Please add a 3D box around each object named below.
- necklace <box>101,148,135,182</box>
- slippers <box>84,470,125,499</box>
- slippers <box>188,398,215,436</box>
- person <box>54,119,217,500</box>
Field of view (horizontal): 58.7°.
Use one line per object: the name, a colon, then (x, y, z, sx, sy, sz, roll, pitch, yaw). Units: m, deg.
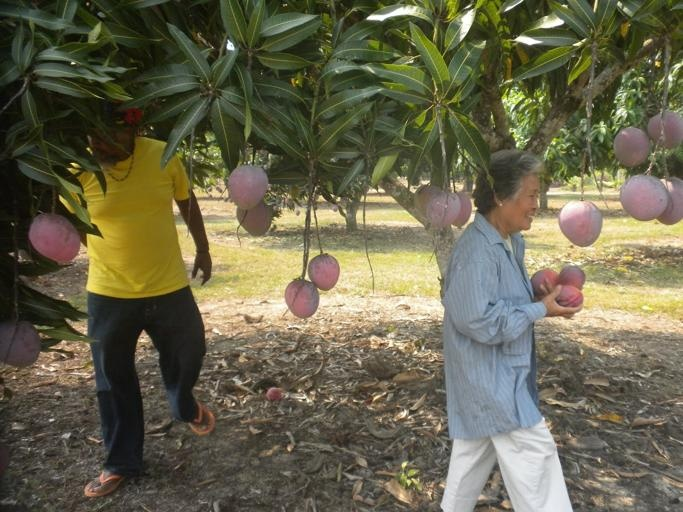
necklace: (-1.096, -0.453, 3.032, 0.121, 0.154, 0.039, -3, 5, 4)
slippers: (-1.279, 1.226, 3.276, 0.109, 0.070, 0.203, 11, 8, 32)
slippers: (-0.881, 1.001, 3.781, 0.121, 0.115, 0.266, -34, 22, -28)
person: (-1.019, 0.310, 3.235, 0.791, 1.920, 0.674, -9, 13, -38)
